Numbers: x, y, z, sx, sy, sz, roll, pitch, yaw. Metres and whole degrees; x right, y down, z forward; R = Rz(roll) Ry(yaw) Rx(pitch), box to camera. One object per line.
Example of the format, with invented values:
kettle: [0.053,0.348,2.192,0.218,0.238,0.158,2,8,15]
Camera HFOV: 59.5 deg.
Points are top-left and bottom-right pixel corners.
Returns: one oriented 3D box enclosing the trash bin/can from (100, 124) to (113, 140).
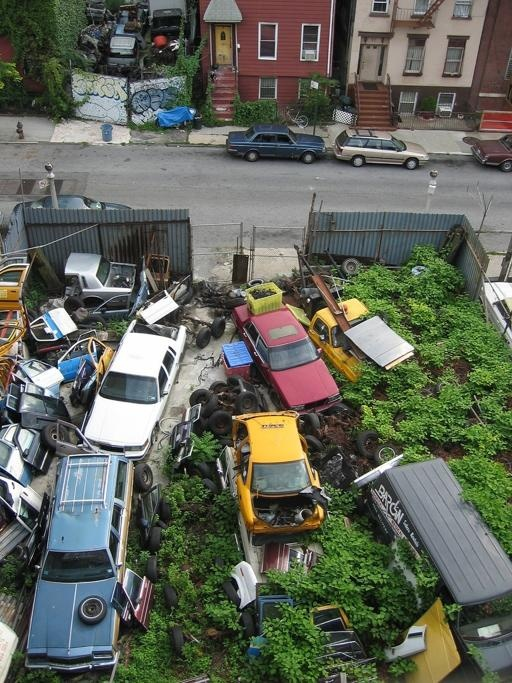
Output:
trash bin/can: [-7.514,-10.466,22.552,0.598,0.709,1.287,-8,35,-16]

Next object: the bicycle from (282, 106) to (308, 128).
bicycle: [2.216,-12.319,24.780,1.141,0.826,1.866,-9,35,-18]

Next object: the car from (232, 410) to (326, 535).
car: [0.325,2.204,7.715,1.310,0.827,1.907,-2,56,-5]

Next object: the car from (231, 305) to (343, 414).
car: [0.571,0.480,11.168,1.432,0.955,2.940,-20,64,-25]
